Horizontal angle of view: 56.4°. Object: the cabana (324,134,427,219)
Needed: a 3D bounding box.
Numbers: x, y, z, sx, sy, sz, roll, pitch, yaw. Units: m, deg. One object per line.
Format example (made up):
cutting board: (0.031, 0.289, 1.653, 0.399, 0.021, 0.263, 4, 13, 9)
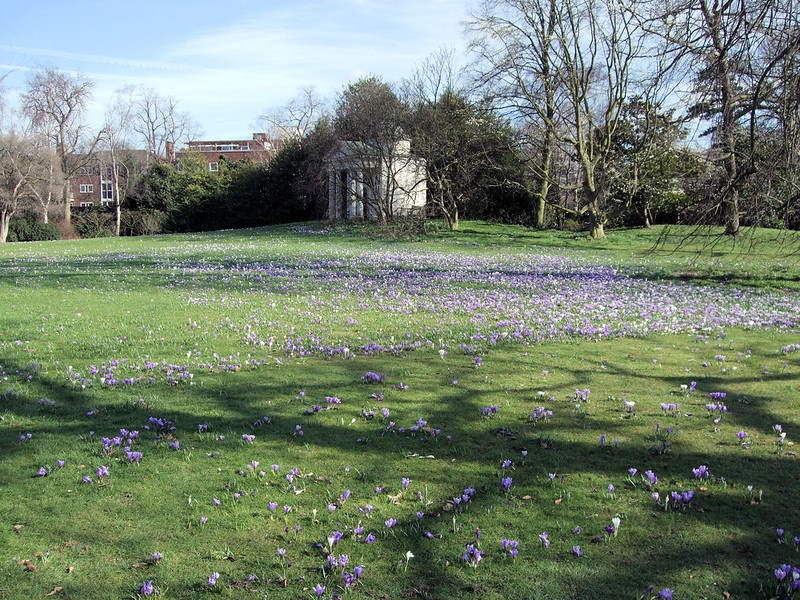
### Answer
cabana: (-2.086, -9.069, 56.944, 6.762, 5.850, 14.281, -1, 9, -12)
